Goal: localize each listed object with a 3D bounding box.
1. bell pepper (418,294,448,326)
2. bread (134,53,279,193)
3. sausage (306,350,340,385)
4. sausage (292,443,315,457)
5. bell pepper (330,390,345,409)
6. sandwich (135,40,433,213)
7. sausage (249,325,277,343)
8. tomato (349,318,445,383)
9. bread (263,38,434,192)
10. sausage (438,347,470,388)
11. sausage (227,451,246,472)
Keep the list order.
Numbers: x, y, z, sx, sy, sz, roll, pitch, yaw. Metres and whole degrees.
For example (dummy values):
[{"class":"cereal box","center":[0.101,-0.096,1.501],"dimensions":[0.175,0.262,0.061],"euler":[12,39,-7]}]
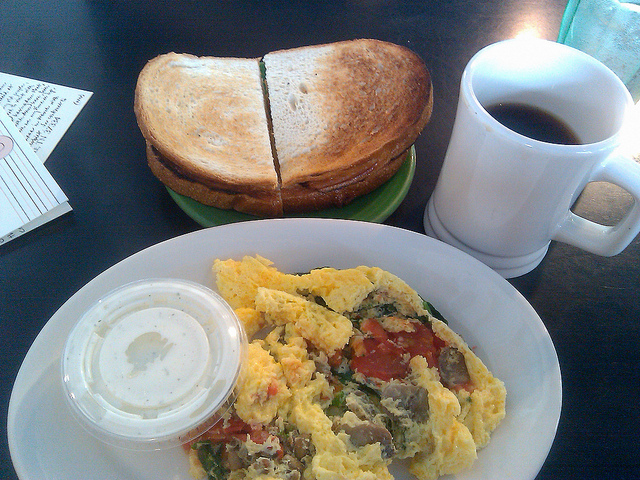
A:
[{"class":"bell pepper","center":[0.289,0.186,1.466],"dimensions":[0.106,0.025,0.034],"euler":[38,34,-14]},{"class":"bread","center":[-0.333,-0.384,1.763],"dimensions":[0.470,0.130,0.468],"euler":[10,53,-20]},{"class":"sausage","center":[0.004,0.291,1.371],"dimensions":[0.023,0.080,0.077],"euler":[-34,36,-7]},{"class":"sausage","center":[-0.037,0.468,1.274],"dimensions":[0.050,0.018,0.028],"euler":[-1,64,2]},{"class":"bell pepper","center":[0.044,0.370,1.333],"dimensions":[0.028,0.015,0.038],"euler":[16,67,10]},{"class":"sandwich","center":[-0.090,-0.313,1.821],"dimensions":[0.771,0.250,0.554],"euler":[-2,56,-10]},{"class":"sausage","center":[-0.142,0.231,1.422],"dimensions":[0.074,0.039,0.033],"euler":[-20,64,-7]},{"class":"tomato","center":[0.189,0.265,1.368],"dimensions":[0.186,0.050,0.137],"euler":[0,71,-5]},{"class":"bread","center":[0.055,-0.438,1.869],"dimensions":[0.562,0.152,0.657],"euler":[21,61,26]},{"class":"sausage","center":[0.318,0.304,1.369],"dimensions":[0.066,0.023,0.084],"euler":[-12,65,-3]},{"class":"sausage","center":[-0.190,0.496,1.282],"dimensions":[0.029,0.010,0.049],"euler":[-19,96,-27]}]
